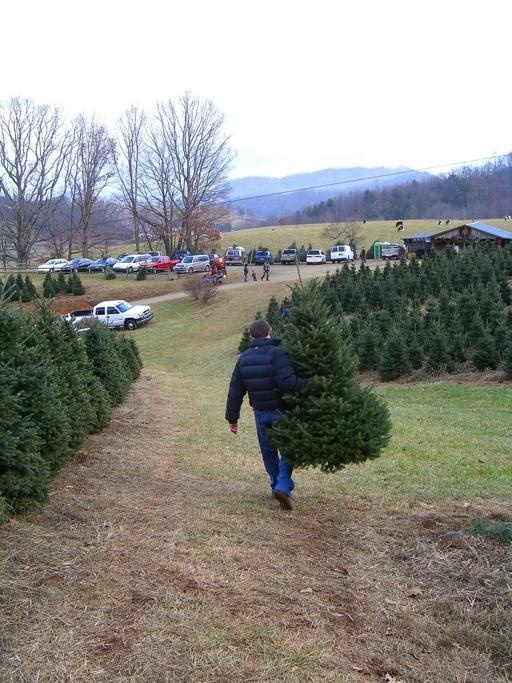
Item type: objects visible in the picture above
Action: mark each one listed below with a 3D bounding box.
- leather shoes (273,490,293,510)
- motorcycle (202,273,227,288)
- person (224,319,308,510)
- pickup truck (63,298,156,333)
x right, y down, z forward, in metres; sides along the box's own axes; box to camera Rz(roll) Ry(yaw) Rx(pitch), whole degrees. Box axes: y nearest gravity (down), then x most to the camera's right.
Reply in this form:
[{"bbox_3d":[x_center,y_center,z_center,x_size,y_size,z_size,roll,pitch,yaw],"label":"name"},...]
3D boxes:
[{"bbox_3d":[0.240,1.452,5.916,0.109,0.091,0.249,10,22,-27],"label":"leather shoes"},{"bbox_3d":[-2.598,-3.905,40.446,0.850,0.461,1.456,8,13,28],"label":"motorcycle"},{"bbox_3d":[0.071,0.679,5.919,0.694,1.762,0.576,4,6,2],"label":"person"},{"bbox_3d":[-6.501,-1.192,30.250,1.506,1.306,4.854,6,6,19],"label":"pickup truck"}]
